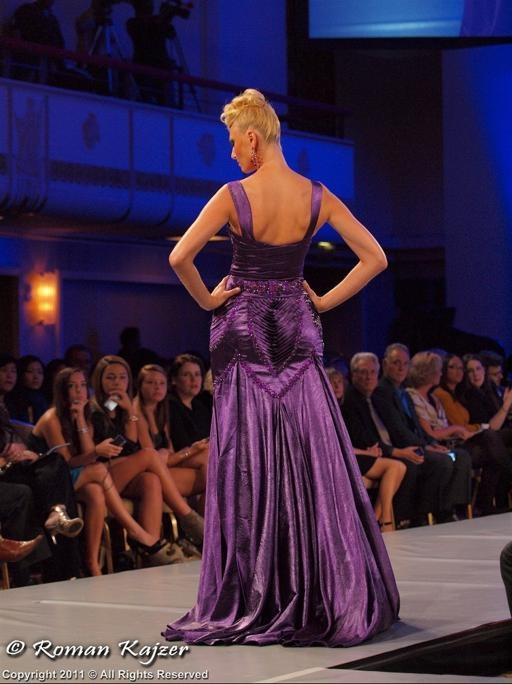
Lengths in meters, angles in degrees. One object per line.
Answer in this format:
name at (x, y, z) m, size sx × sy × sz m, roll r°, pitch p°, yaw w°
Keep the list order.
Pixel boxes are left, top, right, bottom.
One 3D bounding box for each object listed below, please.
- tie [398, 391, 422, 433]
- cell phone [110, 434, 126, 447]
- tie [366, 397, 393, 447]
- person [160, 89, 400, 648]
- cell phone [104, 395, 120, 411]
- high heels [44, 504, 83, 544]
tie at (1.006, 0.440, 4.585) m, size 0.194 × 0.225 × 0.108 m, roll -18°, pitch -16°, yaw 28°
cell phone at (-0.692, 0.488, 3.479) m, size 0.008 × 0.049 × 0.083 m, roll -55°, pitch -12°, yaw 27°
tie at (0.770, 0.506, 4.407) m, size 0.049 × 0.318 × 0.042 m, roll -27°, pitch -7°, yaw 36°
person at (0.050, 0.055, 1.909) m, size 0.638 × 1.476 × 0.312 m, roll -1°, pitch 0°, yaw 4°
cell phone at (-0.738, 0.308, 3.576) m, size 0.018 × 0.075 × 0.072 m, roll 3°, pitch -37°, yaw 52°
high heels at (-0.868, 0.797, 3.116) m, size 0.083 × 0.111 × 0.248 m, roll 3°, pitch -30°, yaw -46°
